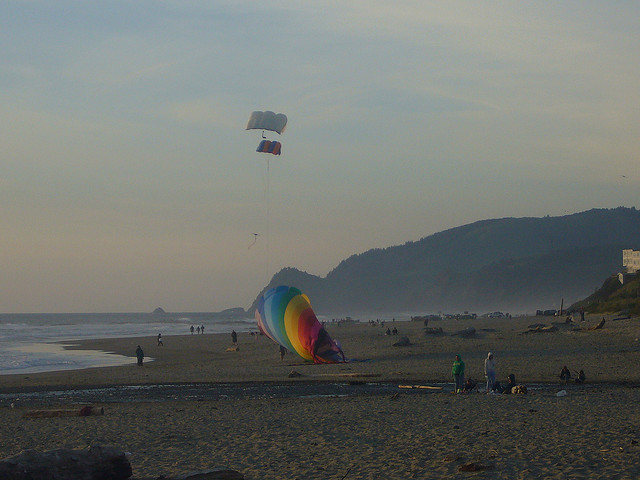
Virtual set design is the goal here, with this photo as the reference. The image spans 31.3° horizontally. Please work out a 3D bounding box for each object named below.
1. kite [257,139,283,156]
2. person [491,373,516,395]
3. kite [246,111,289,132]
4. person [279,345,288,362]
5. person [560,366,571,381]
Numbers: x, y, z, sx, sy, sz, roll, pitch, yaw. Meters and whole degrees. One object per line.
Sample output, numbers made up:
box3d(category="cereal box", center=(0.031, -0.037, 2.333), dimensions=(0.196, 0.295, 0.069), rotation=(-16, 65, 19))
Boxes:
box3d(category="kite", center=(-3.394, -6.347, 78.933), dimensions=(1.412, 1.257, 2.481), rotation=(-1, -4, -5))
box3d(category="person", center=(10.199, 7.995, 63.310), dimensions=(0.750, 0.872, 2.045), rotation=(4, 13, 16))
box3d(category="kite", center=(-3.802, -8.108, 78.200), dimensions=(2.269, 1.426, 2.602), rotation=(-2, -4, 10))
box3d(category="person", center=(-2.459, 7.772, 78.702), dimensions=(0.326, 0.250, 0.966), rotation=(19, 14, 4))
box3d(category="person", center=(13.979, 7.553, 64.911), dimensions=(0.477, 0.733, 0.270), rotation=(-2, -4, 16))
